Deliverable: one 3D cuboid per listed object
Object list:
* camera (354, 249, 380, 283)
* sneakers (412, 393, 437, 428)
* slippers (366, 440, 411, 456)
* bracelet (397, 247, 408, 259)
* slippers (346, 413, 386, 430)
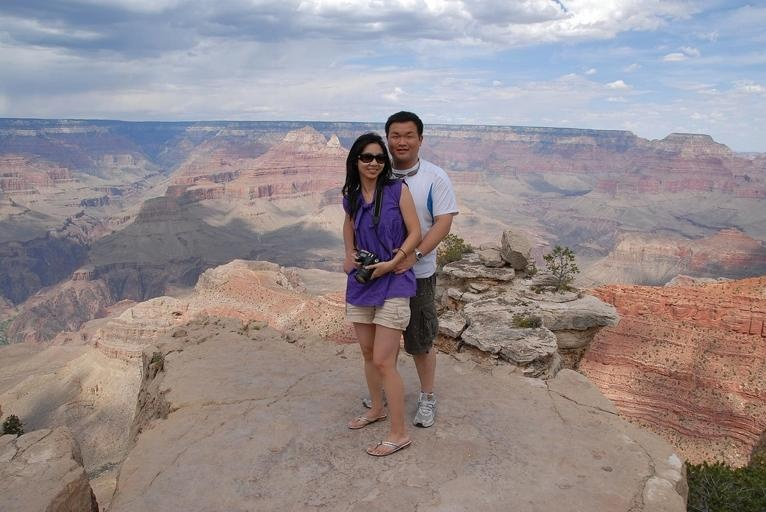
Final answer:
[{"bbox_3d":[-0.175,0.161,6.320,0.413,0.404,0.252,9,-8,30],"label":"camera"},{"bbox_3d":[0.617,2.388,6.811,0.254,0.260,0.624,0,-2,8],"label":"sneakers"},{"bbox_3d":[0.085,2.707,6.431,0.531,0.120,0.247,-3,5,-12],"label":"slippers"},{"bbox_3d":[0.249,-0.038,6.093,0.030,0.119,0.120,26,32,-7],"label":"bracelet"},{"bbox_3d":[-0.260,2.547,6.973,0.596,0.136,0.218,0,-1,-9],"label":"slippers"}]
